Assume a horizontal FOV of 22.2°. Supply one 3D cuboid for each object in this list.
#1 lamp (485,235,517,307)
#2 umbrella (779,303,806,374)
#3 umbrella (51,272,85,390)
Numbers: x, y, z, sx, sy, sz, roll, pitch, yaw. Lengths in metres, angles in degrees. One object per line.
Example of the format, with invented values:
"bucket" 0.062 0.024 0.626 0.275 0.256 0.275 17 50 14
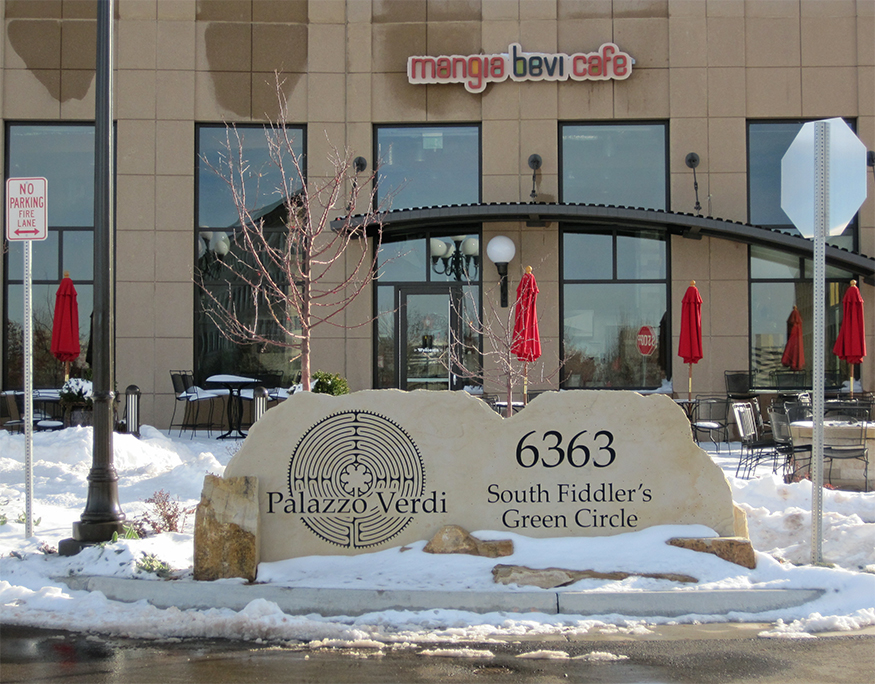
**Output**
"lamp" 1.299 -1.409 46.297 0.628 1.441 0.472 5 7 0
"umbrella" 7.380 0.005 46.063 0.498 1.316 1.162 6 8 10
"umbrella" -7.513 -0.268 45.136 0.555 1.999 0.782 3 7 -11
